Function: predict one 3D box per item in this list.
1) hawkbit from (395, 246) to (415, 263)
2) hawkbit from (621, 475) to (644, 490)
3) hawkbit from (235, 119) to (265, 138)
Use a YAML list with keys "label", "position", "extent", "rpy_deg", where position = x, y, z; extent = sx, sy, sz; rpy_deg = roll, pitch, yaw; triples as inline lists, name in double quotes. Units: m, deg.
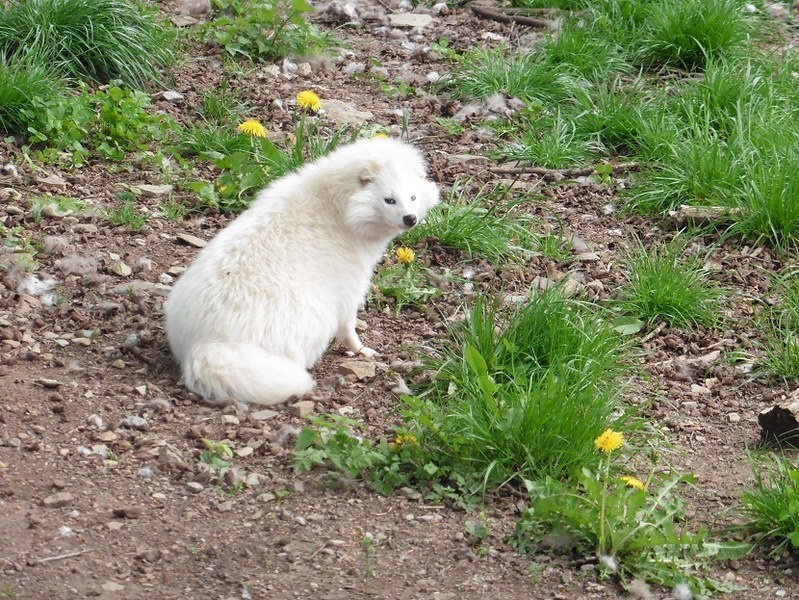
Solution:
- label: "hawkbit"
  position: [0.031, -0.339, 7.123]
  extent: [0.135, 0.114, 0.130]
  rpy_deg: [2, 0, 34]
- label: "hawkbit"
  position: [1.243, 0.987, 5.137]
  extent: [0.095, 0.038, 0.095]
  rpy_deg: [23, -1, 23]
- label: "hawkbit"
  position: [-1.185, -1.392, 7.830]
  extent: [0.279, 0.083, 0.256]
  rpy_deg: [8, -2, 19]
